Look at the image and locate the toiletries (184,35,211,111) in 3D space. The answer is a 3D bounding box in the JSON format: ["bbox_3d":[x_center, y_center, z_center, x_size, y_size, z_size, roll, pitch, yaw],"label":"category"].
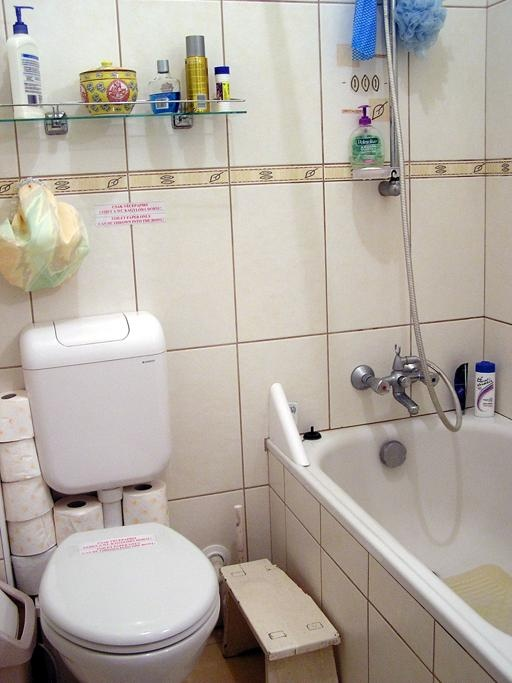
[{"bbox_3d":[-0.133,-0.648,1.391,0.059,0.216,0.080,-4,10,-8],"label":"toiletries"}]

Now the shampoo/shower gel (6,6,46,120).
[{"bbox_3d":[-0.531,-0.642,1.271,0.081,0.261,0.129,-10,16,-17],"label":"shampoo/shower gel"}]

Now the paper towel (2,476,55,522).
[{"bbox_3d":[-0.579,0.396,1.428,0.106,0.080,0.107,-7,-10,-35],"label":"paper towel"}]

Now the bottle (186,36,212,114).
[{"bbox_3d":[-0.139,-0.654,1.411,0.068,0.198,0.090,-4,5,17],"label":"bottle"}]

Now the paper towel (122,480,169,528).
[{"bbox_3d":[-0.297,0.441,1.532,0.110,0.124,0.113,-2,-1,8],"label":"paper towel"}]

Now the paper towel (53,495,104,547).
[{"bbox_3d":[-0.472,0.473,1.480,0.109,0.070,0.106,-1,0,-37],"label":"paper towel"}]

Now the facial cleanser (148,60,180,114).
[{"bbox_3d":[-0.227,-0.624,1.365,0.076,0.127,0.163,-6,15,-6],"label":"facial cleanser"}]

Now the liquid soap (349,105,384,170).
[{"bbox_3d":[0.312,-0.582,1.584,0.092,0.170,0.097,-8,16,-12],"label":"liquid soap"}]
